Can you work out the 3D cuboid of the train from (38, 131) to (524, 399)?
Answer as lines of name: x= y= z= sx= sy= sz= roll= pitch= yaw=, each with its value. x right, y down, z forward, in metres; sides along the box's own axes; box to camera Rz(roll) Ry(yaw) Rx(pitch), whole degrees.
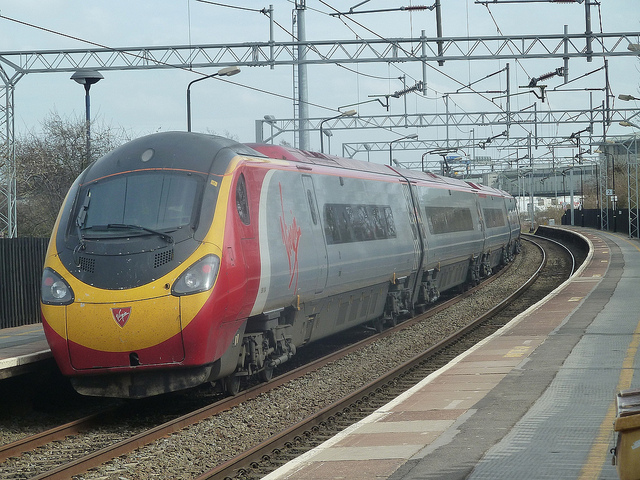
train: x=3.867 y=0.001 z=24.071 sx=2.843 sy=4.782 sz=33.773 roll=-1 pitch=2 yaw=25

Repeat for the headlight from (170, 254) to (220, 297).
headlight: x=-1.736 y=0.510 z=8.996 sx=0.746 sy=0.550 sz=0.201 roll=-3 pitch=2 yaw=-43

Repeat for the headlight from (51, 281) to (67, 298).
headlight: x=-3.712 y=0.722 z=9.102 sx=0.223 sy=0.223 sz=0.060 roll=-1 pitch=-14 yaw=19
